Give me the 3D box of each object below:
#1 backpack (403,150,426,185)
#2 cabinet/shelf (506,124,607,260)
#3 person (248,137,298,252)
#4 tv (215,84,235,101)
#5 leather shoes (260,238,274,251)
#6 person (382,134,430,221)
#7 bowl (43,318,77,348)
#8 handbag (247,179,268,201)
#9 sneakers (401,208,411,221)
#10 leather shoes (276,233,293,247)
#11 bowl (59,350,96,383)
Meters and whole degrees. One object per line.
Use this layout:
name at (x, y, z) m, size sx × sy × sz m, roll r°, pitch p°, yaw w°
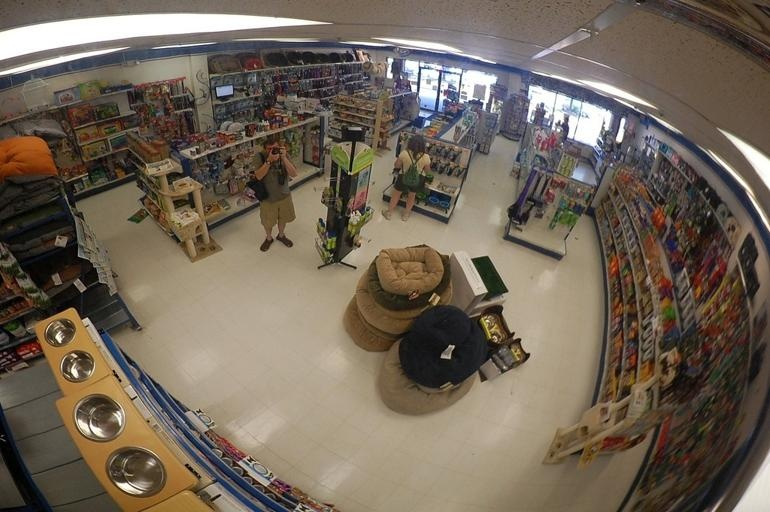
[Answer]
backpack at (0.585, -1.597, 8.642) m, size 0.267 × 0.606 × 0.338 m, roll -6°, pitch 1°, yaw 41°
cabinet/shelf at (3.577, -1.243, 9.202) m, size 1.007 × 1.087 × 3.415 m, roll 17°, pitch 43°, yaw -1°
person at (-1.833, -0.998, 7.350) m, size 0.766 × 1.972 × 0.446 m, roll -17°, pitch 43°, yaw -21°
tv at (-3.468, -3.535, 9.674) m, size 0.105 × 0.269 × 0.392 m, roll 27°, pitch 40°, yaw 20°
leather shoes at (-2.039, -0.178, 7.781) m, size 0.120 × 0.102 × 0.278 m, roll 23°, pitch 67°, yaw 11°
person at (0.471, -1.581, 8.920) m, size 0.711 × 1.870 × 0.634 m, roll 5°, pitch 41°, yaw -9°
bowl at (-2.903, 0.691, 4.026) m, size 0.229 × 0.159 × 0.229 m, roll 13°, pitch 61°, yaw -24°
handbag at (-1.999, -1.026, 7.069) m, size 0.250 × 0.391 × 0.148 m, roll 11°, pitch 40°, yaw 11°
sneakers at (0.415, -0.860, 9.160) m, size 0.112 × 0.144 × 0.368 m, roll 4°, pitch 23°, yaw 5°
leather shoes at (-1.759, -0.263, 7.949) m, size 0.362 × 0.131 × 0.141 m, roll 32°, pitch 59°, yaw 23°
bowl at (-2.649, 0.953, 3.923) m, size 0.171 × 0.400 × 0.393 m, roll -8°, pitch 72°, yaw -27°
